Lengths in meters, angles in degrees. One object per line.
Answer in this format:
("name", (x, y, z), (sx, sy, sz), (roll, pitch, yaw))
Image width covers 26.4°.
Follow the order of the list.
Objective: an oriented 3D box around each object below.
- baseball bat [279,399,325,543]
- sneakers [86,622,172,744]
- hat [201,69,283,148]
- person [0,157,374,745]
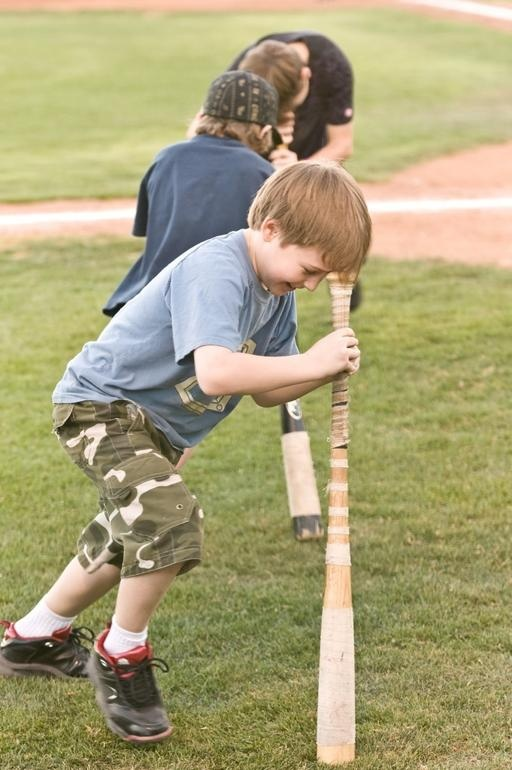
("baseball bat", (0.135, 0.270, 3.397), (0.107, 0.072, 0.441), (-17, 49, 15))
("sneakers", (-0.281, 0.670, 2.448), (0.140, 0.224, 0.176), (-6, 17, -24))
("hat", (-0.044, -0.740, 2.807), (0.190, 0.138, 0.132), (1, 15, -1))
("person", (-0.179, 0.112, 2.551), (0.750, 1.260, 0.532), (-10, 20, -35))
